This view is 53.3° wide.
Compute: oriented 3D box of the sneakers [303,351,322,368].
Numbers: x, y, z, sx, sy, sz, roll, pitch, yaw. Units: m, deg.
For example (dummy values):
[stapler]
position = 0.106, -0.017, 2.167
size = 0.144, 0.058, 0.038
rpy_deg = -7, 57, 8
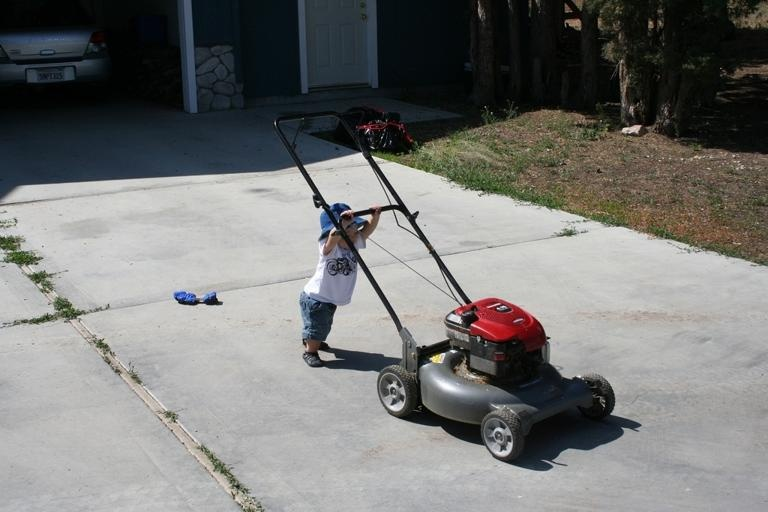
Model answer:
[sneakers]
position = -0.607, 0.890, 6.565
size = 0.093, 0.065, 0.180
rpy_deg = -15, 19, -32

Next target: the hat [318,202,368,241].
[hat]
position = -0.394, -0.295, 6.437
size = 0.362, 0.354, 0.190
rpy_deg = -29, 68, -17
